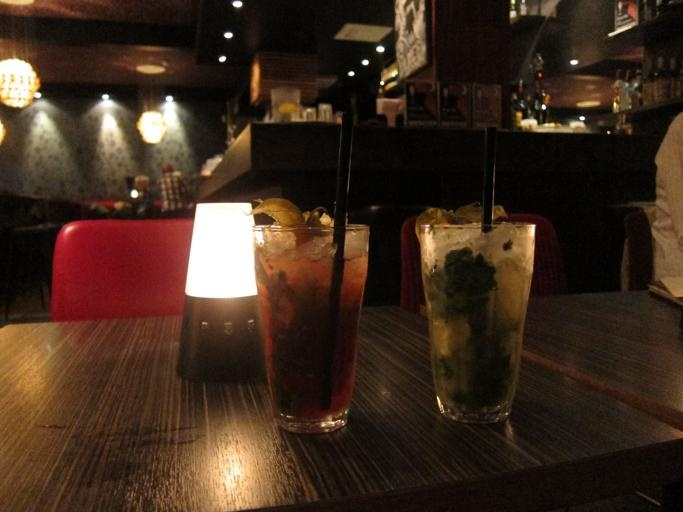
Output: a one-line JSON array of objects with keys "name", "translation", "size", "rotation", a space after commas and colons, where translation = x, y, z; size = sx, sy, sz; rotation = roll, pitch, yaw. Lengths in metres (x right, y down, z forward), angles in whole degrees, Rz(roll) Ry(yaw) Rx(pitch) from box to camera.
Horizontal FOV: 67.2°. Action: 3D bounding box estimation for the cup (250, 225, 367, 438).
[{"name": "cup", "translation": [-0.033, 0.084, 0.620], "size": [0.131, 0.240, 0.074], "rotation": [-2, 10, -10]}]
